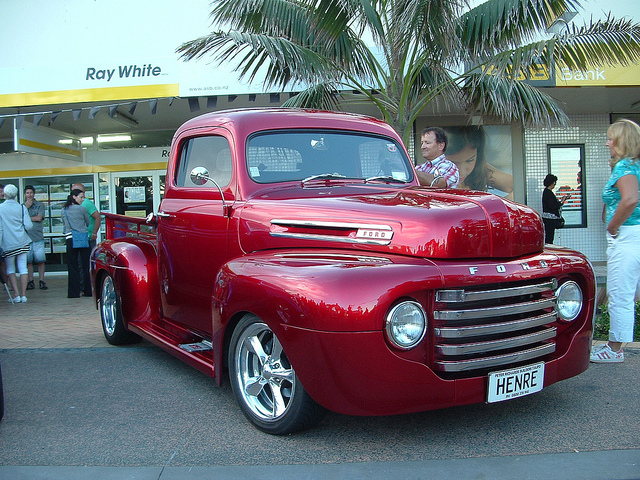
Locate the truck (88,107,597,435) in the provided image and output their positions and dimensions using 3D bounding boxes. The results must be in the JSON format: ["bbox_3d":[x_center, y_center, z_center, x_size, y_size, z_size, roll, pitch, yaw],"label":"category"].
[{"bbox_3d":[-0.302,-0.029,4.689,2.590,1.708,4.099,0,1,-37],"label":"truck"}]

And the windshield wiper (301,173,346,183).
[{"bbox_3d":[0.011,-0.545,4.362,0.317,0.051,0.059,-7,40,-20],"label":"windshield wiper"}]

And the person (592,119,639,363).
[{"bbox_3d":[2.959,-0.084,4.854,0.312,2.187,0.428,1,7,29],"label":"person"}]

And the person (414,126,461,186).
[{"bbox_3d":[1.409,-1.016,6.033,0.599,0.695,0.971,-3,17,-11],"label":"person"}]
